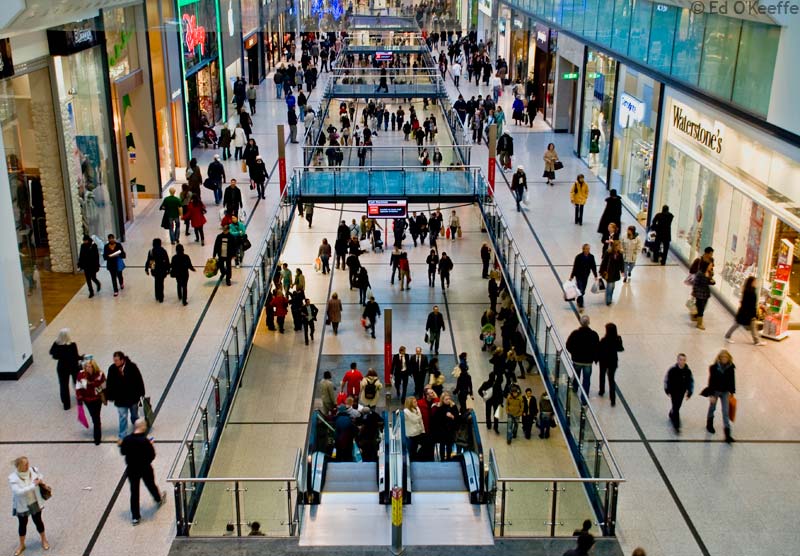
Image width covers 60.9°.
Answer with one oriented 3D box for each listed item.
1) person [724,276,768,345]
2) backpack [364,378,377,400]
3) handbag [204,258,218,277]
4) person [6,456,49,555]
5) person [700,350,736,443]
[{"bbox_3d":[7.851,0.719,15.396,0.674,1.638,1.625,4,7,29],"label":"person"},{"bbox_3d":[-0.620,2.432,14.765,0.254,0.373,0.348,1,7,-1],"label":"backpack"},{"bbox_3d":[-5.239,-0.263,18.894,0.311,0.381,0.252,34,6,-44],"label":"handbag"},{"bbox_3d":[-5.559,3.282,10.207,0.500,1.678,1.309,-3,8,-31],"label":"person"},{"bbox_3d":[6.009,2.143,12.759,0.570,1.779,0.924,4,7,27],"label":"person"}]
